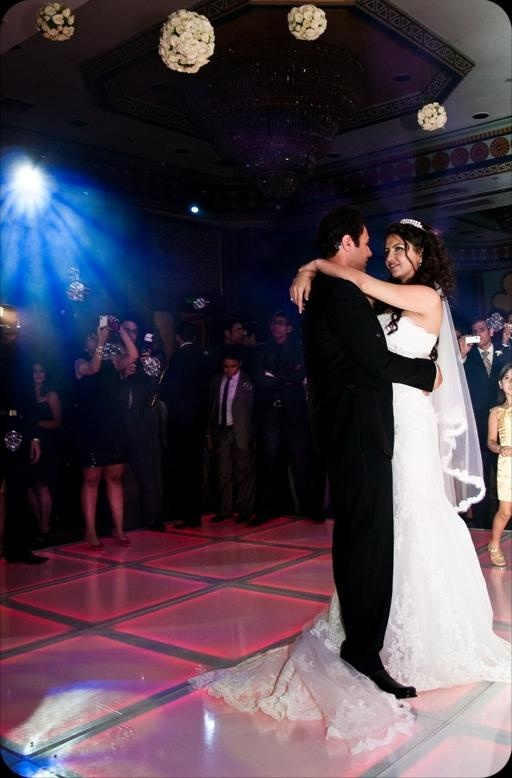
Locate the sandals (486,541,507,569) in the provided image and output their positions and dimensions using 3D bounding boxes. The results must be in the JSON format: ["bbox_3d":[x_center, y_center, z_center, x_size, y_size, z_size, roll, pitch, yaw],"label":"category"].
[{"bbox_3d":[1.581,1.097,3.745,0.066,0.054,0.181,-2,0,5],"label":"sandals"}]

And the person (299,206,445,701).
[{"bbox_3d":[0.398,0.272,1.968,0.457,1.448,0.287,-5,-6,16],"label":"person"}]

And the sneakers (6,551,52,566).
[{"bbox_3d":[-1.671,1.241,4.250,0.323,0.133,0.107,-2,-3,-6],"label":"sneakers"}]
